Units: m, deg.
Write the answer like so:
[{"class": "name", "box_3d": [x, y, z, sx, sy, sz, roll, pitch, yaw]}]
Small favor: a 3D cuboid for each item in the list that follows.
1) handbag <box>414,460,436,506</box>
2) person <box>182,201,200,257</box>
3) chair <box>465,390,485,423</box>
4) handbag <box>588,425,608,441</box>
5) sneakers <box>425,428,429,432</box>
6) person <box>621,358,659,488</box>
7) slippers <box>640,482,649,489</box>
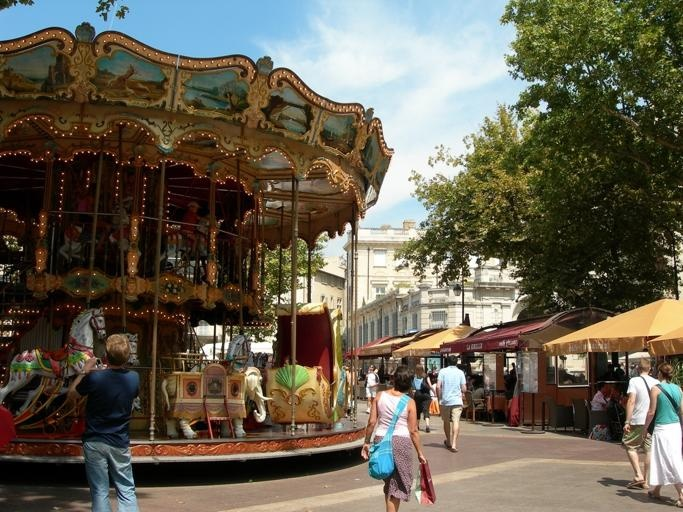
[{"class": "handbag", "box_3d": [1.223, 3.330, 12.224, 0.265, 0.584, 0.345, 0, -9, 4]}, {"class": "person", "box_3d": [-3.646, -0.691, 20.115, 0.412, 1.541, 1.522, 2, -10, -10]}, {"class": "chair", "box_3d": [4.885, 5.417, 30.111, 0.962, 0.982, 1.008, -1, -8, 0]}, {"class": "handbag", "box_3d": [7.177, 4.948, 23.185, 0.320, 0.400, 0.425, 17, -18, -33]}, {"class": "sneakers", "box_3d": [2.653, 5.397, 25.628, 0.086, 0.161, 0.091, 5, -23, -3]}, {"class": "person", "box_3d": [5.620, 3.131, 15.577, 0.795, 2.432, 0.640, 9, -16, -7]}, {"class": "slippers", "box_3d": [5.599, 4.255, 15.361, 0.136, 0.142, 0.066, 2, -2, -1]}]
